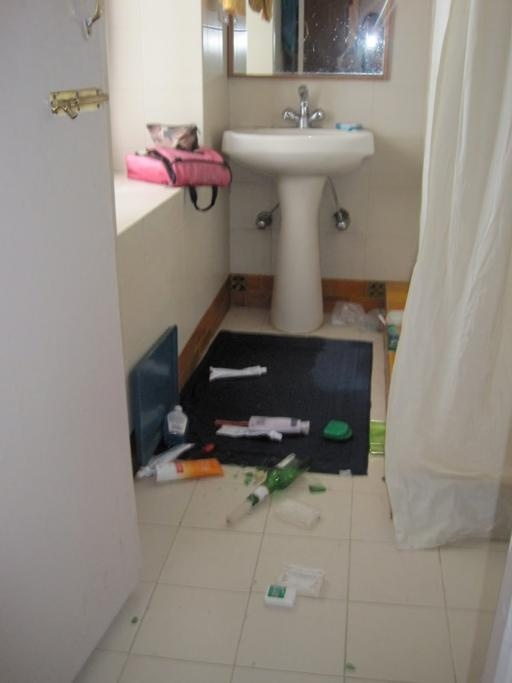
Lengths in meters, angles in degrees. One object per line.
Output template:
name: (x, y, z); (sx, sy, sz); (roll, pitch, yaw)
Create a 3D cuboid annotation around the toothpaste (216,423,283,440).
toothpaste: (-0.021, 0.281, 1.622); (0.130, 0.028, 0.081); (5, 10, 9)

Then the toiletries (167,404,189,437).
toiletries: (-0.241, 0.237, 1.598); (0.064, 0.136, 0.066); (-1, 9, -7)

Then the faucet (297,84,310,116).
faucet: (0.196, -1.007, 2.162); (0.043, 0.111, 0.106); (1, 25, 6)

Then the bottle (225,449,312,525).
bottle: (0.037, 0.368, 1.361); (0.079, 0.084, 0.305); (-14, 15, 41)

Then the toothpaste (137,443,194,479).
toothpaste: (-0.261, 0.327, 1.487); (0.050, 0.049, 0.161); (15, 45, 37)

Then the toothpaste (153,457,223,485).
toothpaste: (-0.186, 0.351, 1.440); (0.192, 0.048, 0.063); (-7, 26, -10)

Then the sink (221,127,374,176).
sink: (0.148, -0.723, 2.005); (0.585, 0.156, 0.186); (6, 26, 15)
